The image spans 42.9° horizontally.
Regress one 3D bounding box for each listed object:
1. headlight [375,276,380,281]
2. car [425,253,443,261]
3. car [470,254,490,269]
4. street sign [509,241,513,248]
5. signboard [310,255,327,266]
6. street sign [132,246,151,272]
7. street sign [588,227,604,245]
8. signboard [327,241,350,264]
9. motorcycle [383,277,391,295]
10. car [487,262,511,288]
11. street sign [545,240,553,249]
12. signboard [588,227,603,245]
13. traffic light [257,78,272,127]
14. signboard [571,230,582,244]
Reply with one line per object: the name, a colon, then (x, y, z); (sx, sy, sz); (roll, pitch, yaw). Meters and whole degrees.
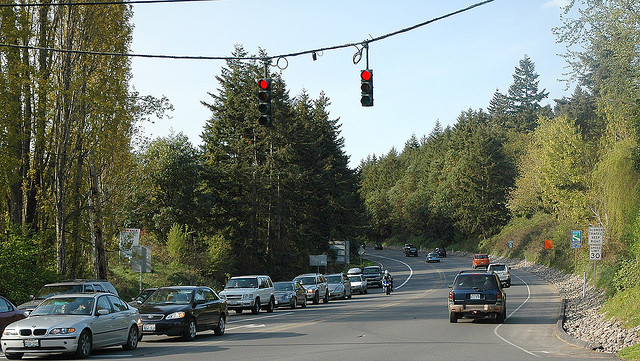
headlight: (6.566, 11.338, 93.827); (0.429, 0.295, 0.316); (0, -7, -2)
car: (18.255, 12.478, 131.268); (1.503, 1.091, 3.306); (0, 0, 8)
car: (21.049, 10.844, 107.770); (1.786, 1.450, 2.977); (0, 1, 7)
street sign: (28.216, 9.574, 121.054); (1.040, 1.147, 0.130); (-3, -8, 1)
signboard: (-0.298, 9.732, 98.494); (1.412, 0.980, 0.199); (0, 4, 24)
street sign: (-14.670, 6.425, 66.618); (2.024, 2.279, 0.308); (-6, -12, 27)
street sign: (22.798, 4.626, 67.540); (1.620, 1.608, 1.253); (-1, -6, 26)
signboard: (2.343, 9.767, 109.030); (3.012, 2.961, 1.760); (-2, -3, 23)
motorcycle: (6.714, 10.684, 82.459); (0.524, 1.753, 0.848); (-6, -6, 31)
car: (18.637, 10.374, 86.183); (2.835, 2.678, 5.189); (0, 2, 14)
street sign: (27.256, 7.726, 97.322); (1.078, 1.040, 0.272); (2, 13, 19)
signboard: (22.720, 4.647, 67.330); (1.379, 1.413, 0.757); (3, 7, 21)
traffic light: (-3.731, -5.156, 54.118); (0.840, 3.281, 1.075); (-2, -5, -2)
signboard: (22.809, 5.148, 72.813); (0.885, 1.087, 0.881); (-4, -6, 11)
